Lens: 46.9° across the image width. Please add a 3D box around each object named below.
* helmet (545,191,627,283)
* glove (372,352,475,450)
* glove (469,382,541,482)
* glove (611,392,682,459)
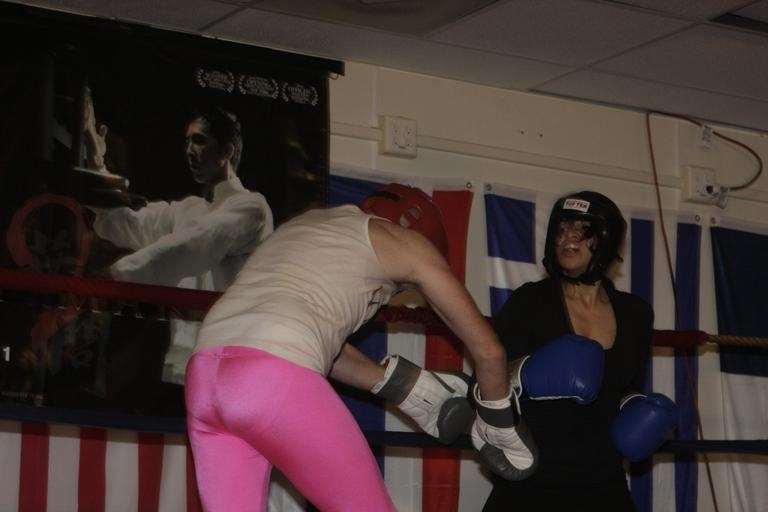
[{"bbox_3d":[1.176,-0.035,5.059,0.442,0.628,0.494,-3,-16,29],"label":"helmet"},{"bbox_3d":[0.230,0.730,4.666,0.555,0.360,0.237,32,1,-1],"label":"glove"},{"bbox_3d":[0.611,0.860,4.387,0.258,0.443,0.433,-29,34,-28],"label":"glove"},{"bbox_3d":[1.351,0.885,4.601,0.300,0.351,0.302,7,1,22],"label":"glove"}]
